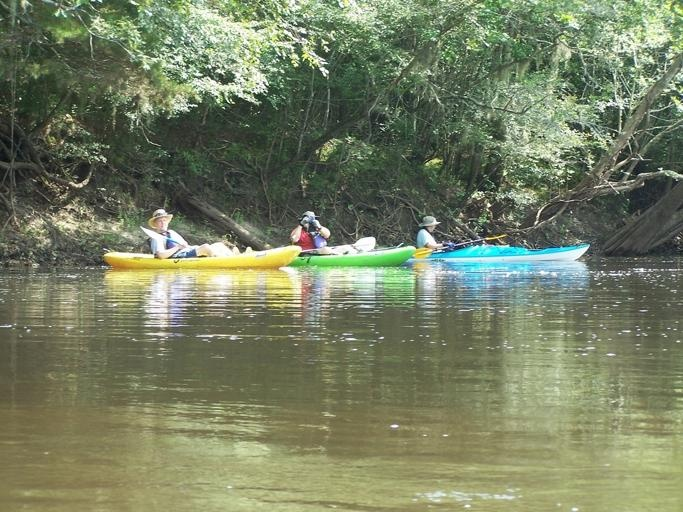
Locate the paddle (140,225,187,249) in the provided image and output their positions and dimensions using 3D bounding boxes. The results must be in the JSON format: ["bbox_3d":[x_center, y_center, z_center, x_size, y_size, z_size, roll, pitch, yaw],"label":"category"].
[{"bbox_3d":[-3.190,-0.333,17.487,0.092,0.221,1.631,-9,-15,30],"label":"paddle"}]

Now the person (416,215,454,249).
[{"bbox_3d":[2.533,-0.654,25.135,0.881,1.024,0.876,-11,28,-13],"label":"person"}]

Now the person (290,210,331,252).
[{"bbox_3d":[-0.663,-0.515,19.422,0.683,0.764,0.810,-4,9,-2],"label":"person"}]

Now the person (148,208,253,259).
[{"bbox_3d":[-2.756,-0.303,17.774,2.165,0.755,0.803,8,15,-14],"label":"person"}]

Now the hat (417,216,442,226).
[{"bbox_3d":[1.970,-0.822,22.525,0.629,0.162,0.523,-5,-2,32],"label":"hat"}]
